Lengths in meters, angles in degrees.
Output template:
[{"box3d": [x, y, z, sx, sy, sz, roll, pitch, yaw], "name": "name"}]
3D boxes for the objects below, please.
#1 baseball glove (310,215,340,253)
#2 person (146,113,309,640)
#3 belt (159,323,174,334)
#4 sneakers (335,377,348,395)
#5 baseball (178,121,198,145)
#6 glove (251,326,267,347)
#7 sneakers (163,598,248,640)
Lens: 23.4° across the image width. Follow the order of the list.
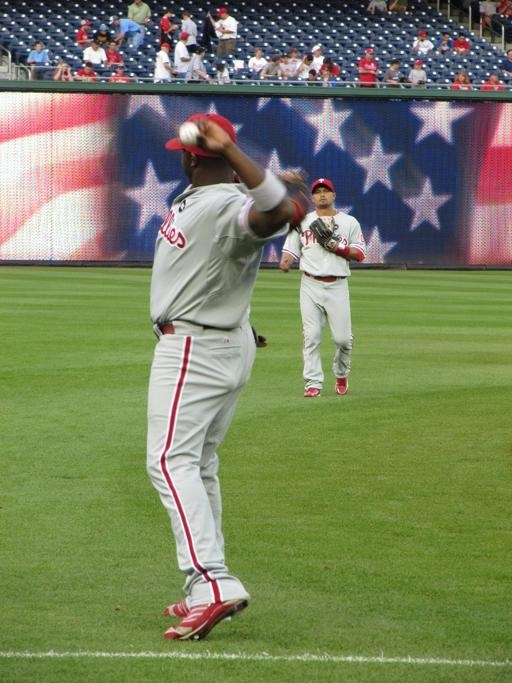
[{"box3d": [0.581, -0.840, 9.536, 0.102, 0.271, 0.215, -25, -7, -29], "name": "baseball glove"}, {"box3d": [-0.131, 0.127, 4.667, 0.546, 1.942, 0.787, 1, 9, -6], "name": "person"}, {"box3d": [-0.342, -0.047, 4.761, 0.052, 0.044, 0.046, 2, -5, 3], "name": "belt"}, {"box3d": [0.685, 0.350, 9.765, 0.136, 0.128, 0.349, -1, 3, 4], "name": "sneakers"}, {"box3d": [-0.234, -0.726, 4.334, 0.072, 0.087, 0.222, 1, 7, -4], "name": "baseball"}, {"box3d": [0.020, -0.012, 5.234, 0.039, 0.047, 0.123, 25, -1, 21], "name": "glove"}, {"box3d": [-0.189, 1.011, 4.645, 0.303, 0.187, 0.288, 1, 8, -3], "name": "sneakers"}]
